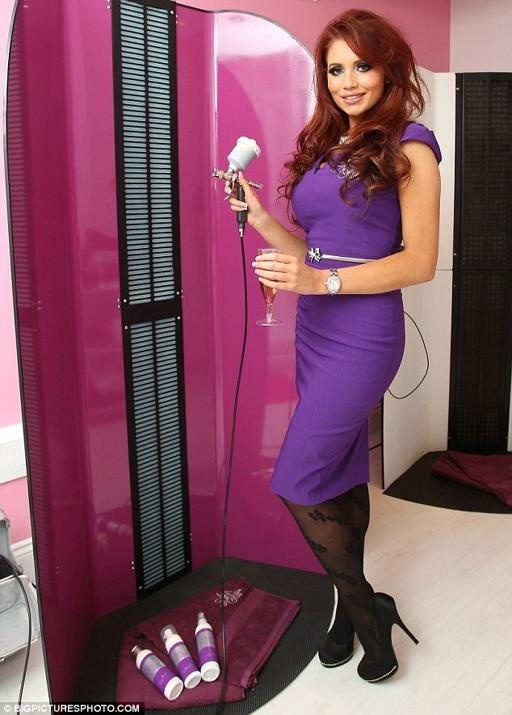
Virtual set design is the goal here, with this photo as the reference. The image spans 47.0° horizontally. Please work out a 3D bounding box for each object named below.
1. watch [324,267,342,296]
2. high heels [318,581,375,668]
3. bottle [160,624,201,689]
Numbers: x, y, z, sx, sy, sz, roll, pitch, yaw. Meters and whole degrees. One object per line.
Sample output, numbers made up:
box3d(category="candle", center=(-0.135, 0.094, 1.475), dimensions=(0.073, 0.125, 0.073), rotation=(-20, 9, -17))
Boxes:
box3d(category="watch", center=(0.148, -0.156, 1.206), dimensions=(0.032, 0.049, 0.048), rotation=(0, 7, 2))
box3d(category="high heels", center=(0.237, 0.719, 1.524), dimensions=(0.086, 0.094, 0.249), rotation=(2, 41, 18))
box3d(category="bottle", center=(-0.185, 0.732, 1.435), dimensions=(0.053, 0.048, 0.163), rotation=(-24, 35, -20))
